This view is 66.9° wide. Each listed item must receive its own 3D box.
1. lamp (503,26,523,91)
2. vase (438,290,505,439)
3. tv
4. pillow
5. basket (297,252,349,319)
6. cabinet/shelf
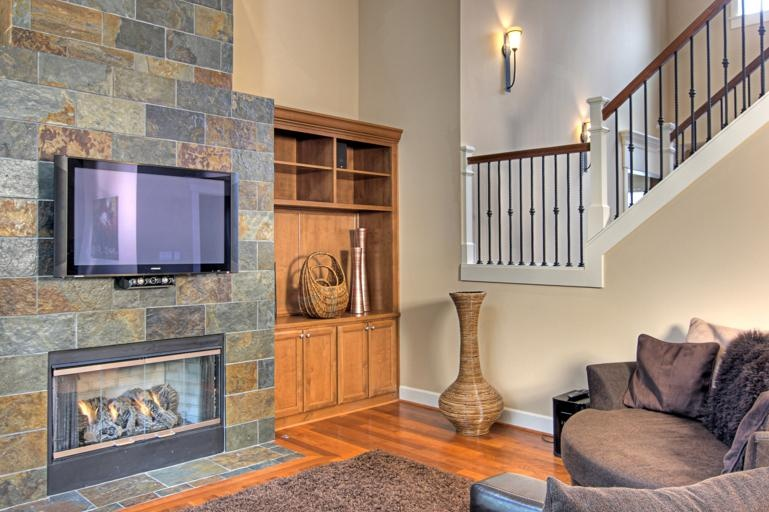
[{"bbox_3d":[1.442,-2.205,6.559,0.220,0.532,0.282,-1,0,12],"label":"lamp"},{"bbox_3d":[0.891,1.027,5.641,0.501,0.948,0.624,-1,-1,38],"label":"vase"},{"bbox_3d":[-1.980,-0.276,4.675,1.213,0.713,0.154,1,-1,-37],"label":"tv"},{"bbox_3d":[2.173,0.803,4.292,0.279,0.696,0.704,27,-10,-36],"label":"pillow"},{"bbox_3d":[-0.647,0.312,6.376,0.665,0.701,0.563,0,-1,-31],"label":"basket"},{"bbox_3d":[-0.606,0.120,6.370,1.590,3.165,0.642,0,0,-38],"label":"cabinet/shelf"}]
